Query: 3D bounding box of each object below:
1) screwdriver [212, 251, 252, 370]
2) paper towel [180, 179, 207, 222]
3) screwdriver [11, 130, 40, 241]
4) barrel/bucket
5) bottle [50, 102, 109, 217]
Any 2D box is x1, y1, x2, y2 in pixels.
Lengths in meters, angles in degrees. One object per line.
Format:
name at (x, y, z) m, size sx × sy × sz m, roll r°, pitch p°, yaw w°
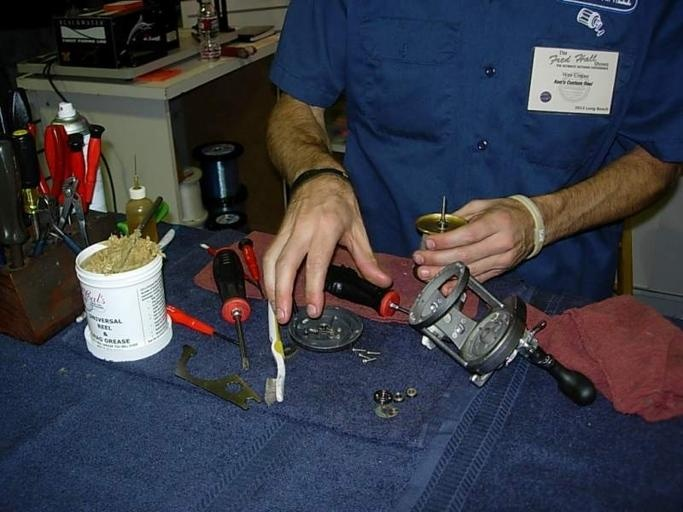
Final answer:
screwdriver at (-0.308, 0.117, 1.659) m, size 0.076 × 0.084 × 0.446 m, roll 0°, pitch 36°, yaw -10°
paper towel at (-0.710, -0.287, 3.007) m, size 0.146 × 0.185 × 0.166 m, roll -2°, pitch 23°, yaw 0°
screwdriver at (-0.780, -0.186, 1.564) m, size 0.044 × 0.269 × 0.087 m, roll -3°, pitch 26°, yaw -9°
barrel/bucket at (-0.521, 0.092, 1.587) m, size 0.240 × 0.284 × 0.235 m, roll 0°, pitch 15°, yaw 0°
bottle at (-0.816, -0.311, 1.873) m, size 0.113 × 0.347 × 0.414 m, roll -11°, pitch 36°, yaw -20°
